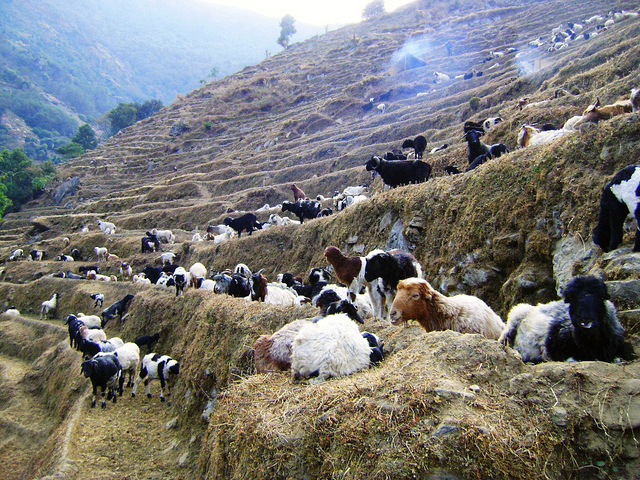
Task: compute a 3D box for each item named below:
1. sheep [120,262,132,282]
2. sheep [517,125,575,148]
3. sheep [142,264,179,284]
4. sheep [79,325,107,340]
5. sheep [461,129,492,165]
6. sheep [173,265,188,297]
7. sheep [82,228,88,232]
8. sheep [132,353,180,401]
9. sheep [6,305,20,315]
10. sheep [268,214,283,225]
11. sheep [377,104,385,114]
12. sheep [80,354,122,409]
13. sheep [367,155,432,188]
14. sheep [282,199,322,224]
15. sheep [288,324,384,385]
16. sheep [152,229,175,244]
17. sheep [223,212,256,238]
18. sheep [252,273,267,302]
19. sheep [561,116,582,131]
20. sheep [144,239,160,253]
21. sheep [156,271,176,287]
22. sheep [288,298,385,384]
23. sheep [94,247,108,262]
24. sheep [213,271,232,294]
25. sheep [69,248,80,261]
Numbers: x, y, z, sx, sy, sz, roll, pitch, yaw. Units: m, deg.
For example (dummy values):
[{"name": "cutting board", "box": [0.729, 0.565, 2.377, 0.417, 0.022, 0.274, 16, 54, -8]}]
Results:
[{"name": "sheep", "box": [-13.751, 2.308, 36.914, 0.698, 1.175, 1.071, -6, 12, -22]}, {"name": "sheep", "box": [8.679, -4.137, 20.601, 1.339, 0.786, 2.614, -20, 8, -5]}, {"name": "sheep", "box": [-9.629, 2.112, 31.375, 1.702, 0.932, 0.632, -14, 8, 23]}, {"name": "sheep", "box": [-10.678, 4.401, 24.314, 0.898, 0.487, 1.218, -11, 15, -39]}, {"name": "sheep", "box": [6.923, -4.095, 22.903, 0.882, 1.467, 0.976, -1, 11, 1]}, {"name": "sheep", "box": [-7.014, 2.098, 25.973, 0.558, 1.186, 2.061, -1, 7, -16]}, {"name": "sheep", "box": [-22.748, -0.941, 50.289, 0.467, 0.332, 0.578, 2, 6, -4]}, {"name": "sheep", "box": [-6.237, 5.279, 20.170, 2.130, 1.662, 0.743, 0, -3, 25]}, {"name": "sheep", "box": [-20.134, 4.712, 34.150, 0.883, 0.457, 0.990, 7, -8, -5]}, {"name": "sheep", "box": [-3.033, -1.406, 35.258, 0.716, 0.421, 1.045, -4, -4, -7]}, {"name": "sheep", "box": [7.599, -16.240, 64.513, 0.695, 1.162, 1.531, -8, 13, -31]}, {"name": "sheep", "box": [-8.409, 5.444, 20.060, 0.723, 1.869, 2.505, -3, -5, 5]}, {"name": "sheep", "box": [3.895, -3.426, 25.907, 3.315, 1.858, 1.317, 4, 4, 24]}, {"name": "sheep", "box": [-0.949, -1.776, 33.253, 1.258, 1.391, 3.450, -8, 13, -29]}, {"name": "sheep", "box": [0.388, 3.149, 14.400, 2.163, 1.261, 1.354, 4, -6, -21]}, {"name": "sheep", "box": [-12.615, -0.214, 41.881, 1.570, 0.999, 1.239, -5, 12, -19]}, {"name": "sheep", "box": [-5.302, -0.951, 34.695, 1.016, 1.621, 2.148, -11, 15, -41]}, {"name": "sheep", "box": [-2.445, 1.957, 21.594, 0.673, 1.016, 0.598, -10, 14, -37]}, {"name": "sheep", "box": [9.872, -4.547, 20.242, 0.585, 0.526, 1.174, 3, 12, 24]}, {"name": "sheep", "box": [-12.732, 0.486, 39.300, 1.089, 0.932, 0.900, -8, 13, -29]}, {"name": "sheep", "box": [-8.923, 2.181, 29.918, 1.061, 0.891, 1.660, 1, 14, -6]}, {"name": "sheep", "box": [0.673, 2.811, 14.847, 1.460, 1.417, 2.624, 4, 9, 24]}, {"name": "sheep", "box": [-17.851, 1.210, 42.474, 0.906, 1.180, 2.197, -6, 12, -23]}, {"name": "sheep", "box": [-4.076, 1.848, 21.815, 0.788, 0.858, 0.426, -2, 11, -3]}, {"name": "sheep", "box": [-21.070, 1.246, 44.719, 0.626, 0.836, 1.597, -7, 13, -26]}]
